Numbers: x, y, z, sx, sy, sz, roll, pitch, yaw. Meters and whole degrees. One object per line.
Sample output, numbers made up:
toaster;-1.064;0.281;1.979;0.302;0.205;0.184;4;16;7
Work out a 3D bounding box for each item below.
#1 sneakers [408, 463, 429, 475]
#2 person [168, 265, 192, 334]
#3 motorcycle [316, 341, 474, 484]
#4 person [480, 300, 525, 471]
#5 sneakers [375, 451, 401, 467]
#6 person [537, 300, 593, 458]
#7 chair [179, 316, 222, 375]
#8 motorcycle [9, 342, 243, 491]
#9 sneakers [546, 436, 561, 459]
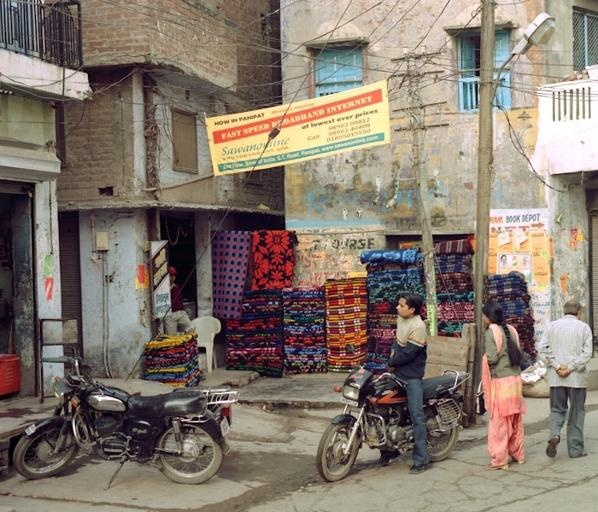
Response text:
sneakers;1.439;2.564;10.697;0.088;0.103;0.248;-2;-7;29
person;-2.206;0.769;16.325;0.439;1.180;0.915;-3;6;-4
motorcycle;1.134;1.933;10.873;2.327;1.411;1.015;-3;-1;-32
person;2.474;1.552;10.804;0.495;1.963;0.618;-1;6;14
sneakers;1.090;2.496;10.984;0.353;0.276;0.124;-5;6;-35
person;3.284;1.513;10.937;0.614;1.862;0.544;-1;6;8
chair;-1.790;1.630;16.512;0.549;0.848;0.639;8;16;19
motorcycle;-2.046;2.001;10.676;2.591;1.583;1.030;0;10;11
sneakers;3.063;2.304;10.743;0.122;0.345;0.139;7;-1;21
